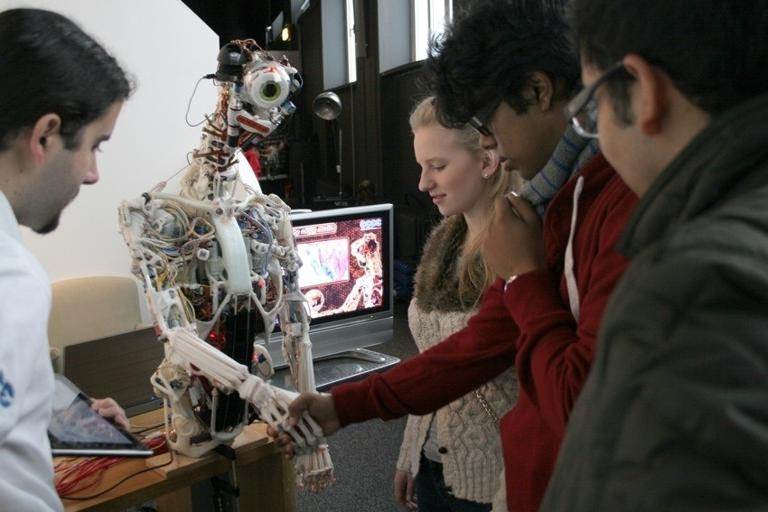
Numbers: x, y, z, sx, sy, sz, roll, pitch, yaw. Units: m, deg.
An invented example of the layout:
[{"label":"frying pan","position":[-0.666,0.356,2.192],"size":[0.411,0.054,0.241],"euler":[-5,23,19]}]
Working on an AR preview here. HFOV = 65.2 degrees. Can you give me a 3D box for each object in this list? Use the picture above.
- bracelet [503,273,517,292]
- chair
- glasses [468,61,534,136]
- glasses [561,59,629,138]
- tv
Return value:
[{"label":"bracelet","position":[0.217,0.047,1.036],"size":[0.006,0.025,0.025],"euler":[24,17,-8]},{"label":"chair","position":[-1.200,0.286,2.655],"size":[0.357,0.535,0.423],"euler":[-1,-8,-28]},{"label":"glasses","position":[0.203,-0.264,1.030],"size":[0.071,0.101,0.045],"euler":[49,20,30]},{"label":"glasses","position":[0.209,-0.152,0.582],"size":[0.017,0.056,0.048],"euler":[47,-9,1]},{"label":"tv","position":[-0.272,0.157,2.799],"size":[0.651,0.735,0.384],"euler":[-8,16,-26]}]
